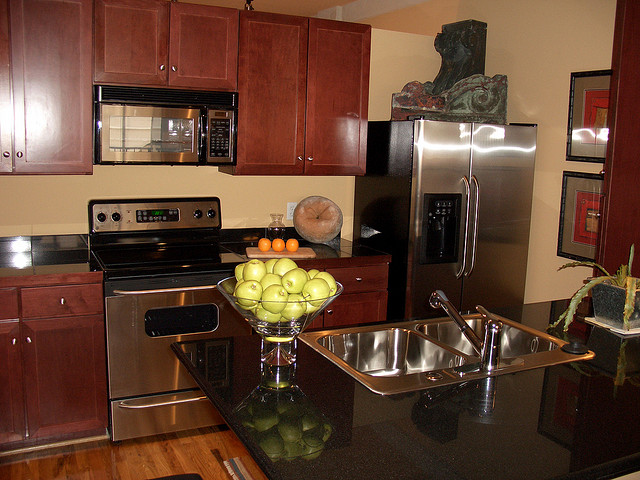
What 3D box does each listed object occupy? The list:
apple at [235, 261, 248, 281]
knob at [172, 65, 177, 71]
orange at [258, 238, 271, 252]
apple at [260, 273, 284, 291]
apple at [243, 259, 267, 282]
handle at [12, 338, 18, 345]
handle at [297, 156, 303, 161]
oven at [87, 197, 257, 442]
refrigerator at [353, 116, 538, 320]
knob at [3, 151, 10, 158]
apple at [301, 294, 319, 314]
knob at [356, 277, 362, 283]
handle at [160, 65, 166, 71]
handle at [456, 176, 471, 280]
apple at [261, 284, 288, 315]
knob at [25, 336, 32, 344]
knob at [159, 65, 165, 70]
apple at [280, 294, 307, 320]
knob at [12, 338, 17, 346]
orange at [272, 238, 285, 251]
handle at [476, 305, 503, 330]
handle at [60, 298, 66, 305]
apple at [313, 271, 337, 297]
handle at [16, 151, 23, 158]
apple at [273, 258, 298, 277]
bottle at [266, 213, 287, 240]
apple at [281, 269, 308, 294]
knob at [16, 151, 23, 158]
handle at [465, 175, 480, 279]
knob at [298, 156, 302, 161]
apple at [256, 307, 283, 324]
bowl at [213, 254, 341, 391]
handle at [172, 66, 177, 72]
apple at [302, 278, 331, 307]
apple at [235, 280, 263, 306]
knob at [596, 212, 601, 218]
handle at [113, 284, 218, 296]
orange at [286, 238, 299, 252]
[{"bbox_3d":[-0.261,0.103,1.712,0.050,0.035,0.057,-5,32,4],"label":"apple"},{"bbox_3d":[-0.888,-1.042,3.089,0.032,0.031,0.016,1,8,-20],"label":"knob"},{"bbox_3d":[-0.366,0.037,3.348,0.077,0.076,0.076,3,-4,-20],"label":"orange"},{"bbox_3d":[-0.151,0.131,1.573,0.050,0.059,0.051,0,5,0],"label":"apple"},{"bbox_3d":[-0.203,0.094,1.637,0.066,0.079,0.068,5,14,0],"label":"apple"},{"bbox_3d":[-1.614,0.539,2.673,0.025,0.028,0.010,4,-7,-19],"label":"handle"},{"bbox_3d":[-0.137,-0.553,3.448,0.029,0.028,0.007,0,8,-15],"label":"handle"},{"bbox_3d":[-0.967,0.475,3.233,0.903,1.365,0.763,-1,15,-20],"label":"oven"},{"bbox_3d":[0.973,-0.135,3.612,1.157,1.375,0.484,-1,13,-9],"label":"refrigerator"},{"bbox_3d":[-1.777,-0.480,2.865,0.037,0.036,0.010,4,-1,-25],"label":"knob"},{"bbox_3d":[-0.028,0.208,1.584,0.039,0.045,0.039,3,8,17],"label":"apple"},{"bbox_3d":[0.259,0.270,3.388,0.036,0.032,0.008,2,7,-15],"label":"knob"},{"bbox_3d":[-0.953,-1.036,3.065,0.029,0.023,0.016,-1,3,0],"label":"handle"},{"bbox_3d":[1.000,-0.073,3.501,0.076,0.714,0.068,1,13,1],"label":"handle"},{"bbox_3d":[-0.135,0.177,1.579,0.078,0.092,0.077,15,15,-13],"label":"apple"},{"bbox_3d":[-1.556,0.536,2.701,0.033,0.044,0.008,-8,15,-33],"label":"knob"},{"bbox_3d":[-0.957,-1.039,3.064,0.030,0.029,0.016,0,7,-21],"label":"knob"},{"bbox_3d":[-0.081,0.210,1.611,0.073,0.085,0.072,19,9,37],"label":"apple"},{"bbox_3d":[-1.614,0.538,2.673,0.020,0.028,0.008,4,0,-29],"label":"knob"},{"bbox_3d":[-0.274,0.036,3.368,0.080,0.068,0.097,-1,13,-7],"label":"orange"},{"bbox_3d":[0.571,0.269,1.733,0.045,0.063,0.122,-6,25,-4],"label":"handle"},{"bbox_3d":[-1.386,0.331,2.725,0.024,0.034,0.008,2,5,-19],"label":"handle"},{"bbox_3d":[0.034,0.148,1.668,0.069,0.083,0.071,1,1,-37],"label":"apple"},{"bbox_3d":[-1.719,-0.485,2.891,0.033,0.033,0.009,4,3,-22],"label":"handle"},{"bbox_3d":[-0.107,0.081,1.668,0.054,0.034,0.064,11,26,9],"label":"apple"},{"bbox_3d":[-0.300,-0.091,3.518,0.152,0.245,0.157,2,6,0],"label":"bottle"},{"bbox_3d":[-0.079,0.130,1.568,0.067,0.070,0.088,-10,10,32],"label":"apple"},{"bbox_3d":[-1.718,-0.484,2.891,0.035,0.034,0.009,3,3,-23],"label":"knob"},{"bbox_3d":[1.076,-0.098,3.578,0.036,0.779,0.126,-13,-31,38],"label":"handle"},{"bbox_3d":[-0.135,-0.554,3.448,0.030,0.030,0.011,2,5,-11],"label":"knob"},{"bbox_3d":[-0.163,0.240,1.578,0.049,0.035,0.064,-1,5,-29],"label":"apple"},{"bbox_3d":[-0.128,0.303,1.705,0.402,0.412,0.418,5,7,-1],"label":"bowl"},{"bbox_3d":[-0.888,-1.040,3.089,0.030,0.030,0.007,2,8,-13],"label":"handle"},{"bbox_3d":[-0.012,0.169,1.574,0.084,0.080,0.057,1,13,0],"label":"apple"},{"bbox_3d":[-0.215,0.161,1.548,0.072,0.086,0.073,12,14,-7],"label":"apple"},{"bbox_3d":[1.821,-0.157,3.304,0.012,0.034,0.061,4,13,14],"label":"knob"},{"bbox_3d":[-0.869,0.288,2.865,0.560,0.052,0.036,-4,13,-20],"label":"handle"},{"bbox_3d":[-0.180,0.042,3.335,0.076,0.086,0.075,-1,5,-34],"label":"orange"}]
